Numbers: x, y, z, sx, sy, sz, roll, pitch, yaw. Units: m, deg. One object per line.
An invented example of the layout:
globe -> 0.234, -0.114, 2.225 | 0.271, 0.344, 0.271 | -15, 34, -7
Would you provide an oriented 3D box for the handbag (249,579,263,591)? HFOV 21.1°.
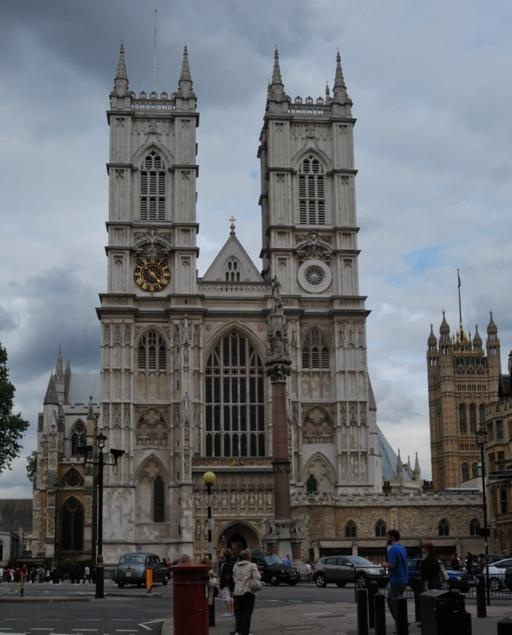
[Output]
handbag -> -0.007, 5.878, 30.252 | 0.207, 0.447, 0.447 | -5, -12, 7
